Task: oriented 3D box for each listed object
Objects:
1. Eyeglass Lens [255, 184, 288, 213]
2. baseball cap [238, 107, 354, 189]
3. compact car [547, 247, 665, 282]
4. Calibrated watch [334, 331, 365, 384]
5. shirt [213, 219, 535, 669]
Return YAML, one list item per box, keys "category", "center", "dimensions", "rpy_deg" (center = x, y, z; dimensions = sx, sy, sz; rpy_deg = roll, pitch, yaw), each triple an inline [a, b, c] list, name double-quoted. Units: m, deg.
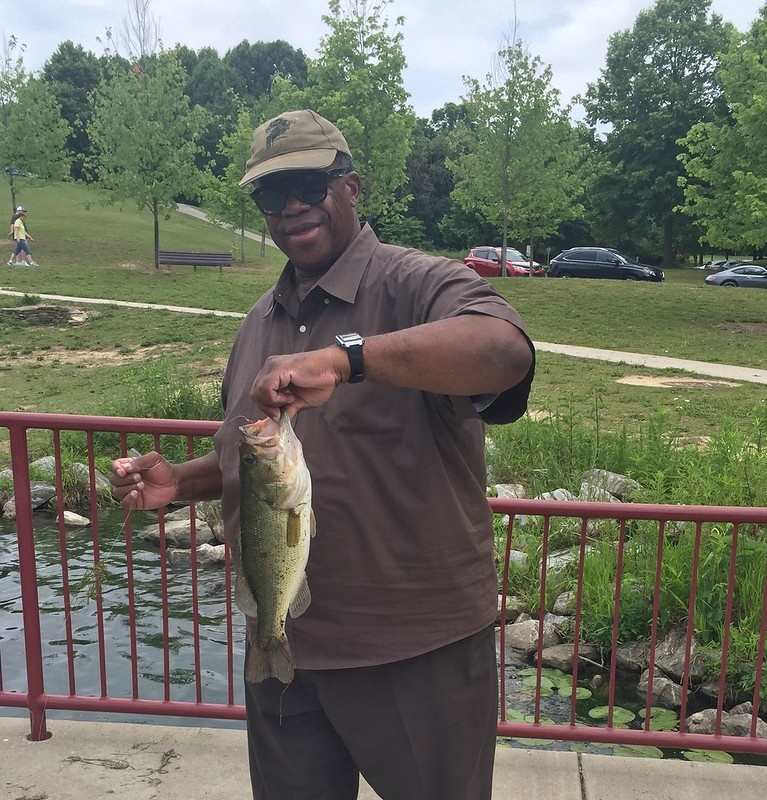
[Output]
- category: "Eyeglass Lens"
  center: [-0.348, -0.602, 3.144]
  dimensions: [0.094, 0.038, 0.098]
  rpy_deg: [6, -3, 5]
- category: "baseball cap"
  center: [-0.272, -0.782, 3.174]
  dimensions: [0.326, 0.223, 0.439]
  rpy_deg: [-9, 6, 21]
- category: "compact car"
  center: [7.175, -4.462, 33.665]
  dimensions: [3.598, 1.095, 1.703]
  rpy_deg: [2, 5, 14]
- category: "Calibrated watch"
  center: [-0.087, -0.110, 2.687]
  dimensions: [0.083, 0.112, 0.115]
  rpy_deg: [-4, 37, -10]
- category: "shirt"
  center: [-0.045, 0.129, 3.124]
  dimensions: [1.350, 1.231, 0.667]
  rpy_deg: [-7, -1, 45]
